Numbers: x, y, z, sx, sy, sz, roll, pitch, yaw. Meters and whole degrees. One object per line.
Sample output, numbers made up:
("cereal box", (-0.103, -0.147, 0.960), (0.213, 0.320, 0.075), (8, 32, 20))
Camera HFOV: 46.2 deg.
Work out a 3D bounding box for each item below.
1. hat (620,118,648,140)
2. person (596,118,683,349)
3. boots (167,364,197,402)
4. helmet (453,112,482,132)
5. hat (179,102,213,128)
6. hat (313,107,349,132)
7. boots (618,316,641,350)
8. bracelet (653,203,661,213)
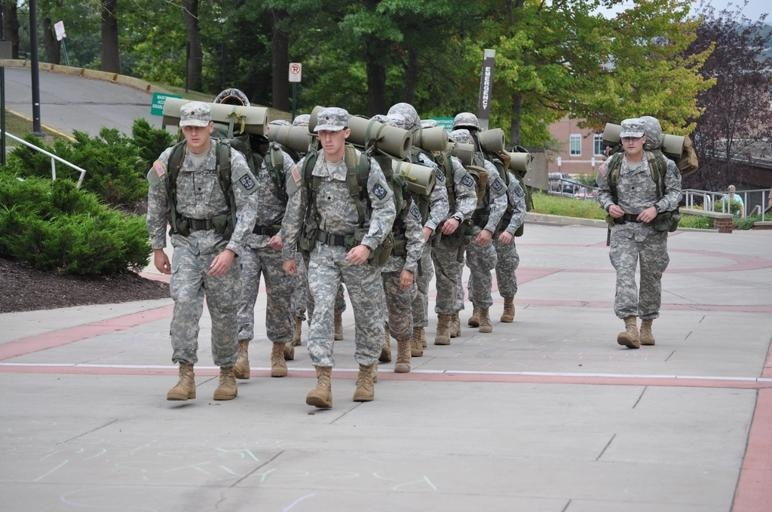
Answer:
("hat", (3.039, -1.587, 11.203), (0.299, 0.251, 0.300), (2, 9, 14))
("person", (3.122, -0.316, 11.296), (0.997, 2.797, 0.738), (1, 10, 11))
("boots", (-2.008, 1.216, 8.814), (0.246, 0.345, 0.547), (0, -3, 4))
("helmet", (1.067, -1.812, 12.142), (0.311, 0.211, 0.349), (3, 8, 20))
("hat", (-1.824, -1.356, 8.631), (0.275, 0.247, 0.276), (-2, 9, -13))
("hat", (-0.488, -1.289, 8.496), (0.256, 0.132, 0.333), (4, 5, 42))
("boots", (3.000, 0.964, 11.208), (0.224, 0.399, 0.481), (-14, -33, 29))
("bracelet", (3.303, -0.586, 11.130), (0.097, 0.022, 0.089), (15, 20, -45))
